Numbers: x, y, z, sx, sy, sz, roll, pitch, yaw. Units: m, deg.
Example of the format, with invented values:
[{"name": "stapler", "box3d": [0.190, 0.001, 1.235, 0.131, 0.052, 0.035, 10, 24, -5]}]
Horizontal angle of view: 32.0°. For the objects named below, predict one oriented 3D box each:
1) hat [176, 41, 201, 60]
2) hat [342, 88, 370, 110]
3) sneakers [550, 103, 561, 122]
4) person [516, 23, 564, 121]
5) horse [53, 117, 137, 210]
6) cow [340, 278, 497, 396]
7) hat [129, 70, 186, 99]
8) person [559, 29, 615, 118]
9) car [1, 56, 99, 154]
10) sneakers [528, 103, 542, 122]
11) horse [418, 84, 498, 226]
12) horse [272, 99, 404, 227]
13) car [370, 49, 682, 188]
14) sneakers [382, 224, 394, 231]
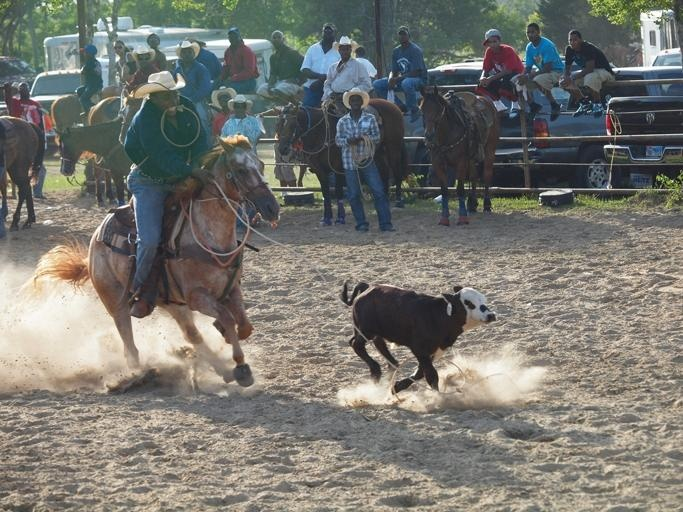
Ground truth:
[{"name": "hat", "box3d": [-2.733, -3.682, 21.079, 0.451, 0.458, 0.148, 1, -11, 9]}, {"name": "hat", "box3d": [0.250, -2.608, 19.923, 0.426, 0.443, 0.118, 3, 6, 0]}, {"name": "sneakers", "box3d": [3.765, -2.520, 21.073, 0.122, 0.288, 0.131, 9, 8, -25]}, {"name": "person", "box3d": [3.585, -3.267, 21.150, 0.710, 1.713, 1.010, -1, 8, 11]}, {"name": "horse", "box3d": [-4.716, -1.994, 22.255, 0.398, 1.055, 1.673, 8, 7, 28]}, {"name": "cow", "box3d": [0.833, 0.983, 14.069, 2.178, 1.400, 0.548, 9, 15, 40]}, {"name": "hat", "box3d": [-2.238, -2.082, 14.548, 0.575, 0.302, 0.702, -2, 8, -1]}, {"name": "person", "box3d": [4.298, -3.174, 20.789, 0.927, 1.481, 0.690, 0, 8, 14]}, {"name": "car", "box3d": [-8.503, -4.199, 33.931, 2.421, 2.109, 4.079, -3, 3, -17]}, {"name": "sneakers", "box3d": [3.445, -2.575, 21.274, 0.159, 0.375, 0.115, 15, 16, -15]}, {"name": "horse", "box3d": [2.044, -1.724, 20.341, 0.847, 2.284, 1.919, 2, 9, 28]}, {"name": "horse", "box3d": [0.311, -1.643, 20.532, 3.415, 2.341, 0.905, -2, -8, 36]}, {"name": "car", "box3d": [3.561, -2.428, 21.729, 4.712, 2.092, 2.478, 2, 13, 8]}, {"name": "sneakers", "box3d": [0.781, -0.457, 19.696, 0.223, 0.116, 0.156, -5, 8, -19]}]
